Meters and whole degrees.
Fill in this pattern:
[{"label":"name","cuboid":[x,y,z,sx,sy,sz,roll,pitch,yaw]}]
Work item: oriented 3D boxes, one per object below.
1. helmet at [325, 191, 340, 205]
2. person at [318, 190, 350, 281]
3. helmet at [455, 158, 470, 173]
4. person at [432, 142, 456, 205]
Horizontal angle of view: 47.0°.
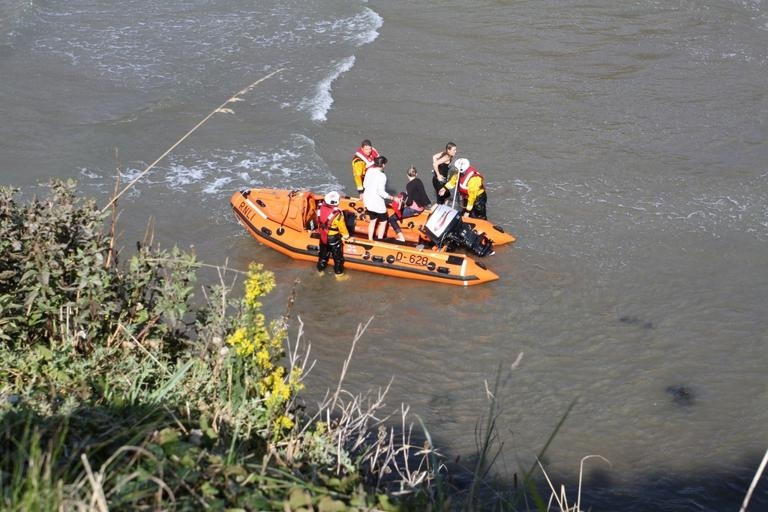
[{"label":"helmet","cuboid":[-1.179,-1.241,19.792,0.377,0.254,0.344,12,-12,-1]},{"label":"person","cuboid":[-1.191,-0.462,20.024,0.724,1.981,0.645,-1,31,-4]},{"label":"helmet","cuboid":[1.855,-2.159,21.091,0.307,0.321,0.492,1,27,0]},{"label":"person","cuboid":[1.512,-1.987,22.263,0.825,2.158,0.684,-4,58,2]}]
